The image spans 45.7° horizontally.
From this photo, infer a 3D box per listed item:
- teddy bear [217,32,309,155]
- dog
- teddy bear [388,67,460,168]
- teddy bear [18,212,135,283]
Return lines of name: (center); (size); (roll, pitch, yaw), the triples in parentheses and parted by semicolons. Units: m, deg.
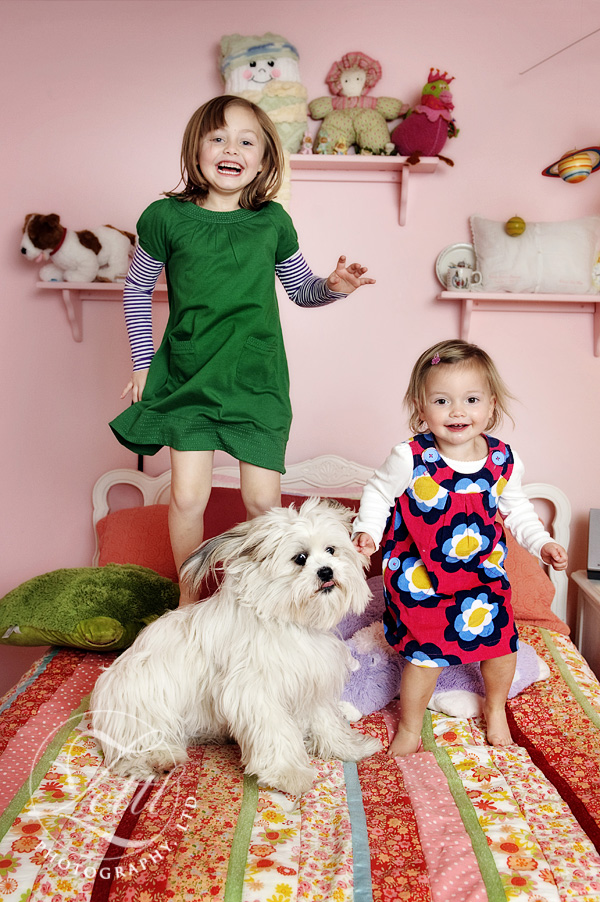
teddy bear: (-0.100, -1.066, 2.148); (0.267, 0.349, 0.206); (-1, 26, 6)
dog: (-0.100, 0.317, 1.210); (0.438, 0.402, 0.334); (-5, -9, 29)
teddy bear: (0.383, -1.013, 2.106); (0.185, 0.322, 0.158); (-2, 5, -31)
teddy bear: (-0.688, -0.641, 2.213); (0.365, 0.216, 0.207); (-22, 37, -36)
